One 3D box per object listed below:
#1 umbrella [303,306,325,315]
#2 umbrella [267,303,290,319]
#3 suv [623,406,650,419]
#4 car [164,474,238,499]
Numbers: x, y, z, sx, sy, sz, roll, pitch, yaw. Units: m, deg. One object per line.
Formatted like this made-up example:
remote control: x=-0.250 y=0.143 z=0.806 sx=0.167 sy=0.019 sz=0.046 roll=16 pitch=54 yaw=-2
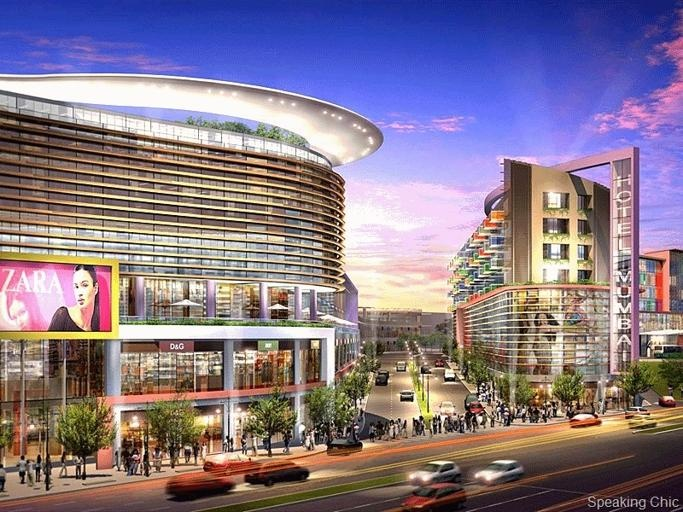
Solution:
umbrella: x=-3.795 y=7.244 z=104.190 sx=2.819 sy=1.064 sz=2.603 roll=4 pitch=-9 yaw=-26
umbrella: x=-7.565 y=6.617 z=93.594 sx=2.288 sy=1.455 sz=2.174 roll=0 pitch=-9 yaw=-3
suv: x=35.101 y=19.009 z=92.369 sx=2.003 sy=1.393 sz=4.427 roll=-2 pitch=-5 yaw=39
car: x=-10.563 y=16.815 z=56.606 sx=3.576 sy=1.149 sz=2.491 roll=5 pitch=-8 yaw=-41
